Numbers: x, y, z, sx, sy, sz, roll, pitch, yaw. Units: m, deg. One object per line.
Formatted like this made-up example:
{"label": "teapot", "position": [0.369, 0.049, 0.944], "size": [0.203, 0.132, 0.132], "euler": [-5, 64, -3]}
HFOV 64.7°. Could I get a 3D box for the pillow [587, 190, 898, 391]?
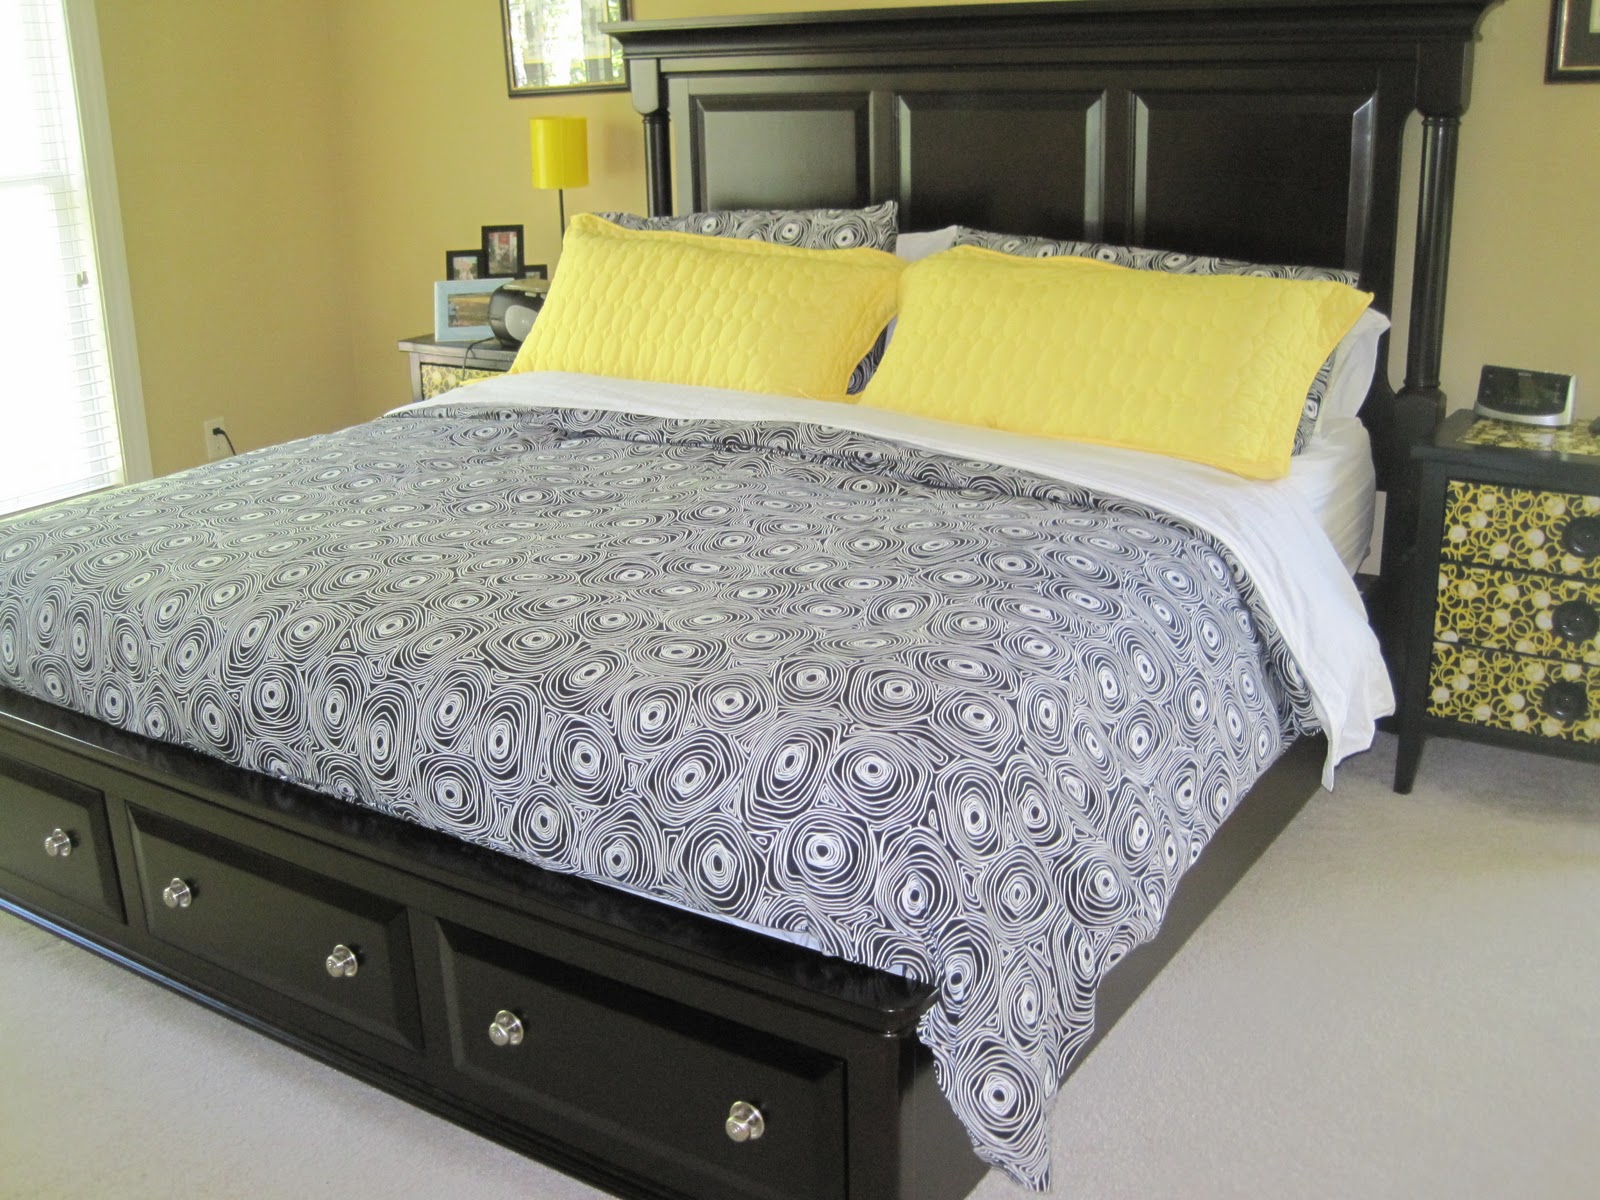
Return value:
{"label": "pillow", "position": [-0.153, -0.788, 3.365], "size": [0.670, 0.674, 0.184], "euler": [9, 4, 33]}
